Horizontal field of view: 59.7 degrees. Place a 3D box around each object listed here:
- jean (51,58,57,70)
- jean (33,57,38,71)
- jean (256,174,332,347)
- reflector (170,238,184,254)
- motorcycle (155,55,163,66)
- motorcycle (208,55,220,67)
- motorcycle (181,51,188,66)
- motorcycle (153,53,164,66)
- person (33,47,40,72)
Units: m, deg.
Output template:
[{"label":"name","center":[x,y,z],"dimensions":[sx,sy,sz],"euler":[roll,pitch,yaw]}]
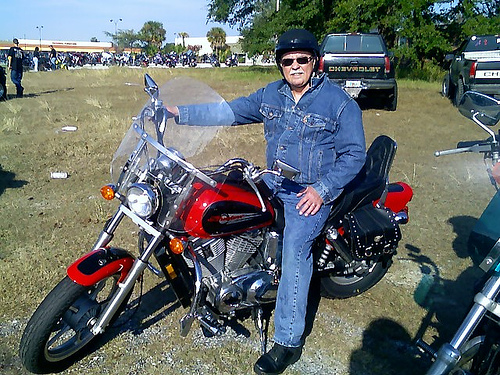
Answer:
[{"label":"jean","center":[-13.126,-8.328,29.155],"dimensions":[0.331,0.669,0.502],"euler":[-11,22,-23]},{"label":"jean","center":[-13.940,-8.092,28.362],"dimensions":[0.290,0.936,1.974],"euler":[-11,23,-24]},{"label":"jean","center":[0.404,0.755,4.179],"dimensions":[0.439,2.272,0.577],"euler":[1,4,-9]},{"label":"reflector","center":[-0.606,0.488,3.673],"dimensions":[0.090,0.116,0.083],"euler":[10,52,28]},{"label":"motorcycle","center":[-9.622,-13.565,46.223],"dimensions":[0.621,0.803,1.259],"euler":[-1,16,0]},{"label":"motorcycle","center":[-3.601,-13.181,44.400],"dimensions":[1.220,1.417,2.234],"euler":[11,13,-5]},{"label":"motorcycle","center":[-6.779,-13.092,44.100],"dimensions":[0.923,1.175,1.666],"euler":[1,16,-1]},{"label":"motorcycle","center":[-9.605,-13.494,45.912],"dimensions":[0.810,1.101,1.527],"euler":[-1,16,2]},{"label":"person","center":[-13.623,-8.182,27.815],"dimensions":[0.378,1.353,1.332],"euler":[-11,22,-25]}]
